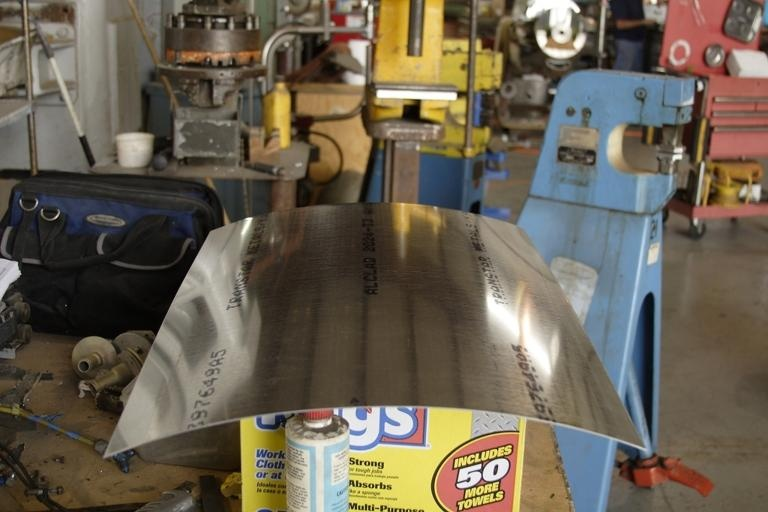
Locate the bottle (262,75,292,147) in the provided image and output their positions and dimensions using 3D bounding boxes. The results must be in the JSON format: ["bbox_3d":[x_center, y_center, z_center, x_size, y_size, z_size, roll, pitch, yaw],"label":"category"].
[{"bbox_3d":[-0.519,-0.691,3.469,0.132,0.323,0.207,-2,14,-11],"label":"bottle"}]

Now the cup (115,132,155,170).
[{"bbox_3d":[-1.089,-0.464,3.096,0.152,0.124,0.165,3,13,-1],"label":"cup"}]
